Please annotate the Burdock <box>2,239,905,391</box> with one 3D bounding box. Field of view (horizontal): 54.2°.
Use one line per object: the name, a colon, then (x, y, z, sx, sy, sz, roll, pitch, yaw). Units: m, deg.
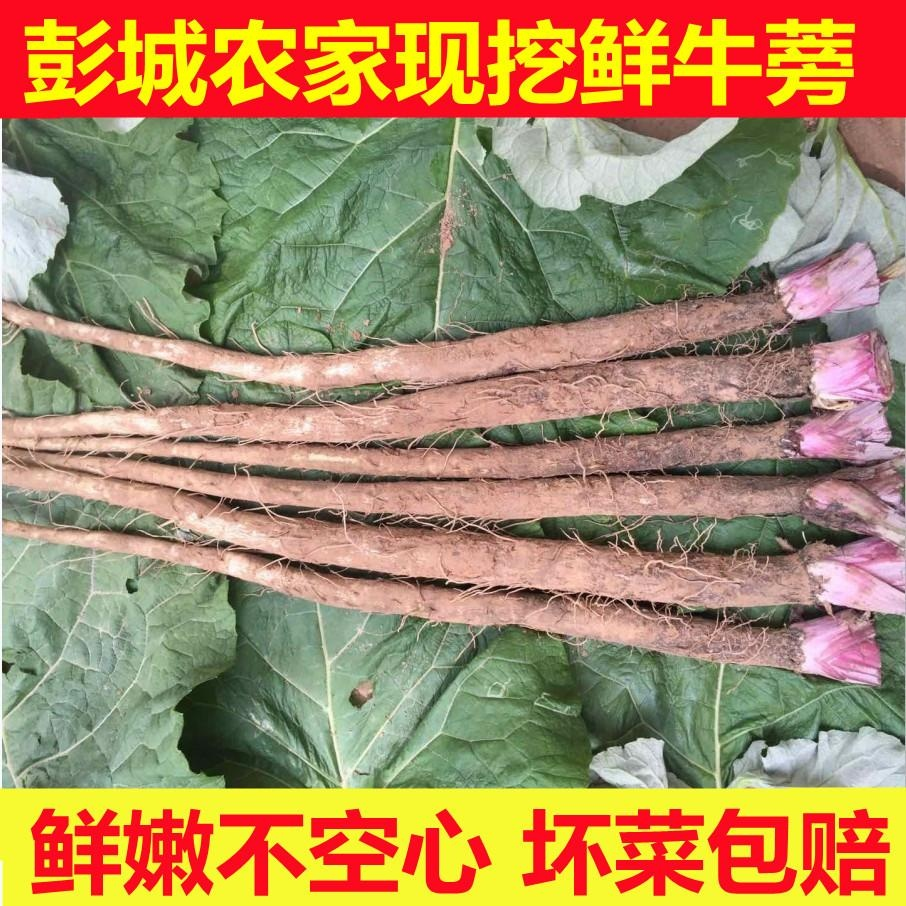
Burdock: (0.118, -0.483, 3.010, 2.530, 0.367, 0.217, -4, -68, 7)
